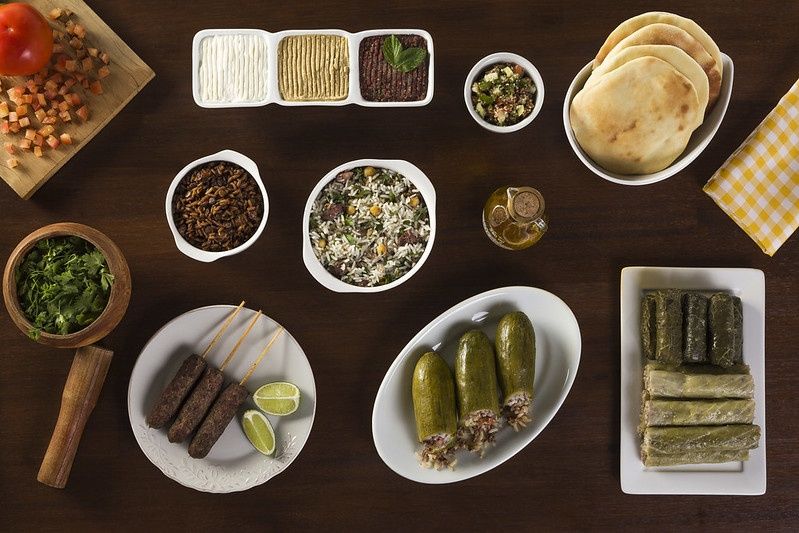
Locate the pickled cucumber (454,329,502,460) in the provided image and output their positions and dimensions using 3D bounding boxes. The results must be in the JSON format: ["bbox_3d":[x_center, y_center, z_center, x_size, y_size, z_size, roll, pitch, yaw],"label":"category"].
[{"bbox_3d":[0.325,0.532,3.238,0.181,0.228,0.508,-6,79,2],"label":"pickled cucumber"}]

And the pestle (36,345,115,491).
[{"bbox_3d":[-1.358,0.622,3.350,0.204,0.205,0.752,17,88,-5],"label":"pestle"}]

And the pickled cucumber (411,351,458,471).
[{"bbox_3d":[0.149,0.602,3.214,0.173,0.206,0.476,-3,79,2],"label":"pickled cucumber"}]

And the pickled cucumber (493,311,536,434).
[{"bbox_3d":[0.484,0.419,3.230,0.172,0.161,0.488,-3,63,11],"label":"pickled cucumber"}]

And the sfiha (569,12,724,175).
[{"bbox_3d":[0.997,-0.693,3.211,0.532,0.177,0.659,37,110,1],"label":"sfiha"}]
